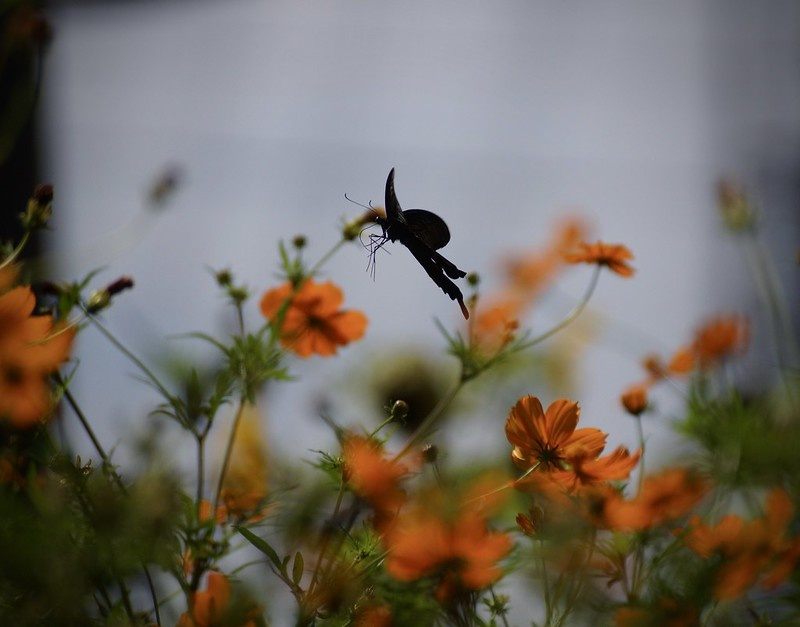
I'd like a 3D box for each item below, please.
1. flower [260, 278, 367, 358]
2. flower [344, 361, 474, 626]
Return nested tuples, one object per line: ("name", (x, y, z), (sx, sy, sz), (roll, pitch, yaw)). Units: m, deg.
("flower", (-0.073, 0.004, 0.991), (0.090, 0.025, 0.105), (-5, 6, -22))
("flower", (0.005, 0.147, 0.964), (0.100, 0.198, 0.051), (2, -2, -20))
